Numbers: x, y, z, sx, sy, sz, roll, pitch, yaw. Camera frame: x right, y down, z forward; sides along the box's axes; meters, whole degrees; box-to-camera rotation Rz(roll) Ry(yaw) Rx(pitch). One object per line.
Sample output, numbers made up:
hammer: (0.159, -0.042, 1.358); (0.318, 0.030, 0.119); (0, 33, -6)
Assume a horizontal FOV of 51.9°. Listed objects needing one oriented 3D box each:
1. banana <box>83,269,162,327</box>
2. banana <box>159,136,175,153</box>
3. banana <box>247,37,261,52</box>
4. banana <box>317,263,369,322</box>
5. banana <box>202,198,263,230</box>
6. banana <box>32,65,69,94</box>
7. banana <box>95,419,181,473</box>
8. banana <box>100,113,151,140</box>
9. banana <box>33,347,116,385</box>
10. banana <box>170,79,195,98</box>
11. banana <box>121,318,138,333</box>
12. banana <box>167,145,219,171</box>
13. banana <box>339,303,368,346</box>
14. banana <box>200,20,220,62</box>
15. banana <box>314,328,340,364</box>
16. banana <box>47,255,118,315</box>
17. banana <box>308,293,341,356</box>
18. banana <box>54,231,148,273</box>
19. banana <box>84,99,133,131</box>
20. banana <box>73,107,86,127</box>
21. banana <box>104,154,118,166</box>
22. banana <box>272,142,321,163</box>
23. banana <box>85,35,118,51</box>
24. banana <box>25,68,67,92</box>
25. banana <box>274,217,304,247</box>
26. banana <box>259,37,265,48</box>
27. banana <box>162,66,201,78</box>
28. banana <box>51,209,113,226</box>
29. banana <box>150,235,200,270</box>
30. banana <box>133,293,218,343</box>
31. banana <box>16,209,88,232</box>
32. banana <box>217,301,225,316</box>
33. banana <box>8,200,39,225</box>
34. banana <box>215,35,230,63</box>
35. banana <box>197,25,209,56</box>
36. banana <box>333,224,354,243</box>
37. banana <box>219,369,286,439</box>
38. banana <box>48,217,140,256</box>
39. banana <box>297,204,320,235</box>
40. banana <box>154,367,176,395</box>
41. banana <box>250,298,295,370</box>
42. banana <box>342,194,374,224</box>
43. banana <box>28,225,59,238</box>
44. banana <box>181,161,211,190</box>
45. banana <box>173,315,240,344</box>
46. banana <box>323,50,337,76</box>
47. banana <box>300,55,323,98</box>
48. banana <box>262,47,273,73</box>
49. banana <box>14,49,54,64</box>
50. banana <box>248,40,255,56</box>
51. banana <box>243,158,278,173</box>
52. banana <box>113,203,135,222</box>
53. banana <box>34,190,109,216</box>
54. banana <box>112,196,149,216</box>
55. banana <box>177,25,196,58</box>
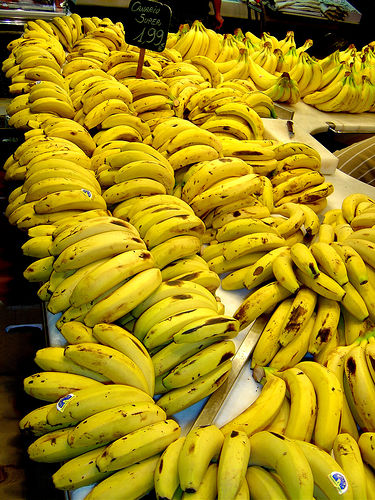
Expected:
banana: (-0.158, 0.117, 0.968); (0.222, 0.067, 0.068); (-33, 54, -18)
banana: (-0.090, -0.431, 1.623); (0.023, 0.086, 0.031); (39, 7, 9)
banana: (0.580, -1.774, 3.364); (0.047, 0.050, 0.179); (-34, 71, 0)
banana: (0.488, 0.134, 1.216); (0.173, 0.046, 0.058); (51, 30, 9)
banana: (0.181, -0.158, 1.512); (0.160, 0.133, 0.051); (-19, 66, -21)
banana: (-0.731, -0.963, 2.109); (0.063, 0.194, 0.165); (-22, 11, 19)
banana: (-0.090, 0.377, 0.758); (0.192, 0.057, 0.056); (-8, 26, -40)
banana: (-0.270, -0.573, 1.743); (0.232, 0.114, 0.055); (7, 40, -26)
banana: (-0.251, 0.264, 0.877); (0.126, 0.046, 0.035); (19, 38, 7)
banana: (-0.046, -0.911, 2.188); (0.148, 0.143, 0.046); (-19, 7, -37)
banana: (-0.156, 0.202, 1.045); (0.029, 0.010, 0.045); (13, 46, 26)
banana: (0.024, -0.373, 1.541); (0.196, 0.091, 0.055); (-12, 52, -9)
banana: (0.526, 0.235, 1.234); (0.039, 0.054, 0.151); (-26, 15, 20)
banana: (0.182, -1.583, 3.004); (0.118, 0.347, 0.082); (-8, 19, 9)
banana: (0.409, 0.283, 1.143); (0.033, 0.047, 0.136); (11, 48, 47)
banana: (-0.259, 0.087, 0.976); (0.172, 0.058, 0.046); (-41, 76, 0)
banana: (0.442, 0.212, 1.233); (0.068, 0.081, 0.252); (26, 50, -3)
banana: (-0.234, -0.005, 1.033); (0.269, 0.075, 0.067); (-10, 22, -33)
banana: (-0.370, -0.615, 1.725); (0.253, 0.068, 0.125); (-26, 59, -17)
banana: (-0.519, -0.630, 1.862); (0.057, 0.096, 0.028); (33, 28, 19)
banana: (-0.292, -0.339, 1.475); (0.031, 0.021, 0.114); (-15, -8, -24)
banana: (0.522, -0.469, 1.875); (0.232, 0.123, 0.062); (-4, 15, 0)
banana: (-0.626, -1.483, 2.772); (0.213, 0.076, 0.057); (28, 16, -24)
banana: (-0.749, -0.899, 1.999); (0.149, 0.046, 0.123); (13, 26, -27)
banana: (0.412, -0.073, 1.566); (0.118, 0.035, 0.116); (-47, 36, -8)
banana: (0.684, -1.877, 3.522); (0.052, 0.043, 0.149); (12, 57, 10)
banana: (-0.040, -1.093, 2.377); (0.199, 0.064, 0.096); (-5, 37, -14)
banana: (-0.310, -0.099, 1.176); (0.091, 0.028, 0.077); (-14, -5, 0)
banana: (-0.039, -0.005, 1.131); (0.186, 0.087, 0.055); (-19, 33, -31)
banana: (-0.044, 0.149, 0.980); (0.214, 0.110, 0.049); (-20, 43, -22)
banana: (-0.416, -0.093, 1.206); (0.243, 0.077, 0.058); (-7, -1, 4)
banana: (0.105, 0.175, 1.149); (0.032, 0.031, 0.035); (-2, 23, 6)
banana: (-0.562, -0.129, 1.328); (0.113, 0.043, 0.030); (-35, 52, 3)
banana: (0.291, -1.567, 3.081); (0.065, 0.232, 0.082); (21, -7, -29)
banana: (0.125, -1.560, 2.938); (0.090, 0.229, 0.056); (2, 12, -5)
banana: (0.596, -0.070, 1.479); (0.053, 0.031, 0.095); (-10, 21, 25)
banana: (0.183, 0.389, 0.961); (0.112, 0.054, 0.228); (0, 31, 48)
banana: (-0.267, 0.004, 1.101); (0.236, 0.065, 0.109); (-11, 48, -11)
banana: (0.498, -0.120, 1.558); (0.049, 0.091, 0.175); (1, 26, -7)
banana: (-0.059, 0.322, 0.964); (0.020, 0.084, 0.031); (39, 7, 0)
banana: (0.255, 0.257, 1.158); (0.052, 0.065, 0.204); (39, 69, -2)
banana: (0.729, -0.189, 1.679); (0.123, 0.049, 0.151); (-9, 43, 37)
banana: (-0.454, -0.061, 1.222); (0.084, 0.027, 0.040); (-10, 23, 2)
banana: (0.020, -0.305, 1.535); (0.029, 0.126, 0.073); (47, 3, 24)
banana: (0.039, 0.186, 0.916); (0.138, 0.035, 0.049); (-11, -1, -34)
banana: (1.235, -1.579, 3.311); (0.067, 0.213, 0.088); (25, 11, 9)
banana: (1.037, -1.391, 3.142); (0.064, 0.242, 0.187); (23, 22, 3)
banana: (0.653, -1.497, 3.100); (0.056, 0.201, 0.070); (4, 6, -30)
banana: (-0.933, -1.120, 2.280); (0.128, 0.042, 0.107); (-31, 66, -17)
banana: (0.536, -1.688, 3.255); (0.030, 0.115, 0.062); (0, 25, 46)
banana: (0.345, -0.383, 1.756); (0.093, 0.035, 0.090); (-9, 3, -44)
banana: (-0.220, -0.135, 1.346); (0.065, 0.018, 0.050); (-12, 61, 30)
banana: (-0.374, -0.149, 1.227); (0.220, 0.078, 0.061); (-3, 30, -17)
banana: (-0.190, -0.152, 1.316); (0.097, 0.023, 0.034); (-31, 28, 5)
banana: (-0.007, -1.548, 2.932); (0.071, 0.287, 0.102); (22, 8, -12)
